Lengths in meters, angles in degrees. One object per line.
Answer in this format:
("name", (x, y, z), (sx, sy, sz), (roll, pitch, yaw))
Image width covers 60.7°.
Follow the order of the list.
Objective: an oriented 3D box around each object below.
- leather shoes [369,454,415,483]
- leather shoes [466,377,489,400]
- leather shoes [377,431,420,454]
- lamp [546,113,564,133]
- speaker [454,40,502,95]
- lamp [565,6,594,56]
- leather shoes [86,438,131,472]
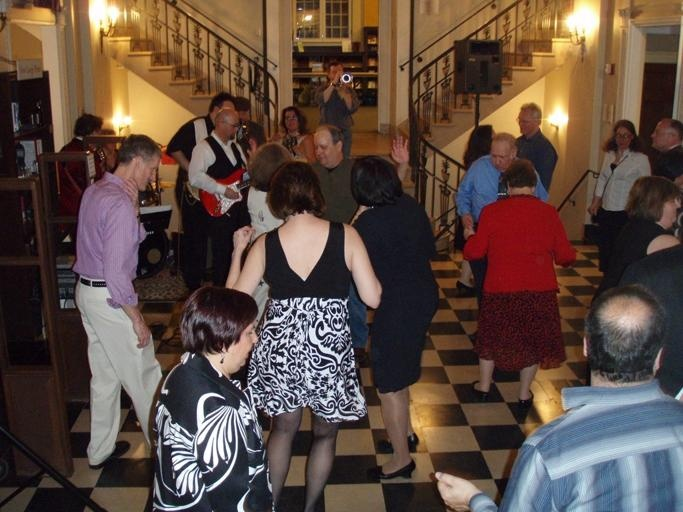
("leather shoes", (0.309, 1.309, 3.587), (0.244, 0.122, 0.125), (4, 9, 1))
("leather shoes", (1.035, 1.003, 4.389), (0.061, 0.077, 0.198), (-3, 35, -1))
("leather shoes", (0.363, 1.217, 3.816), (0.220, 0.102, 0.127), (-2, 19, 4))
("lamp", (3.797, -2.376, 10.292), (0.055, 0.266, 0.260), (-5, 31, -21))
("speaker", (1.881, -2.640, 8.318), (0.663, 1.098, 0.734), (-1, 8, -1))
("lamp", (3.728, -3.508, 9.072), (0.166, 0.775, 0.685), (-2, 10, -9))
("leather shoes", (-1.471, 1.212, 3.661), (0.079, 0.104, 0.253), (17, 34, 20))
